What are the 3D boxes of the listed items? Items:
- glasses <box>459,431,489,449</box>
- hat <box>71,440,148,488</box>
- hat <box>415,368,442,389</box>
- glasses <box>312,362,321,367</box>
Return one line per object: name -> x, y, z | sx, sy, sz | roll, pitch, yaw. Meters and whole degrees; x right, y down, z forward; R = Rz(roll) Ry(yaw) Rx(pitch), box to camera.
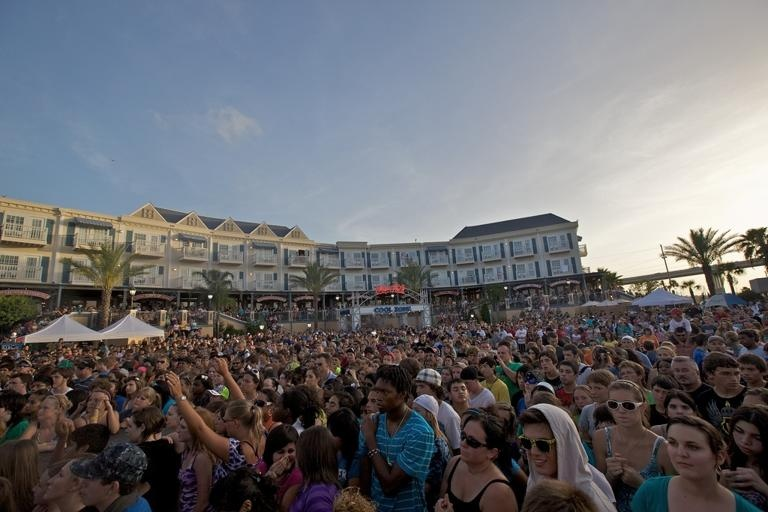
glasses -> 1.021, 2.073, 4.411 | 0.293, 0.178, 0.046 | -5, -10, 9
hat -> -3.119, 2.340, 4.540 | 0.653, 0.354, 0.428 | 21, 1, -16
hat -> 0.723, 1.931, 6.232 | 0.331, 0.189, 0.247 | 3, -13, -21
glasses -> -1.606, 2.596, 9.298 | 0.147, 0.136, 0.179 | -11, -16, 39
